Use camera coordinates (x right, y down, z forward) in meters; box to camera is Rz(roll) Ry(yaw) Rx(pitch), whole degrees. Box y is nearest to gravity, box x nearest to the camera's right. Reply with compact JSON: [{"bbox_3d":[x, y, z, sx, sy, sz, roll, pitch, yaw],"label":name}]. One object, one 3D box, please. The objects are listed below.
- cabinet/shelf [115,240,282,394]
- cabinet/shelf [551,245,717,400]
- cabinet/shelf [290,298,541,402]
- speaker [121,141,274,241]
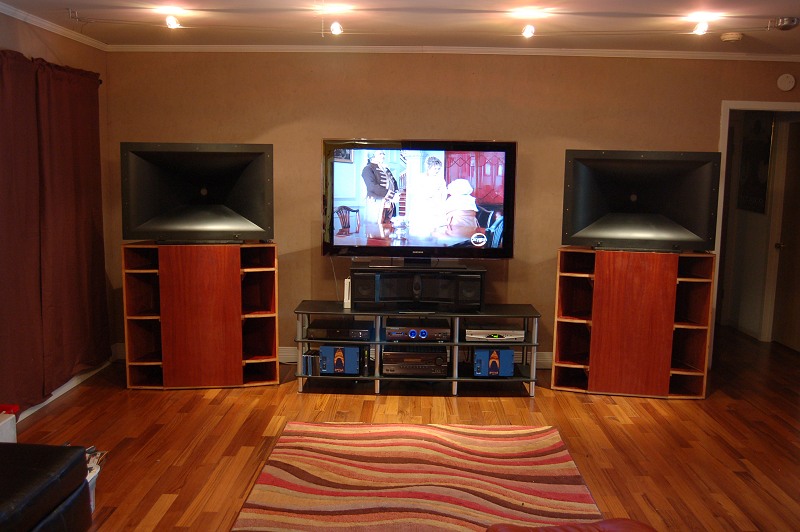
[{"bbox_3d":[-1.614,0.402,5.370,1.223,1.081,0.617,-1,0,-15],"label":"cabinet/shelf"},{"bbox_3d":[1.873,0.449,5.144,1.289,1.136,0.675,1,3,5],"label":"cabinet/shelf"},{"bbox_3d":[0.138,0.665,5.323,1.933,0.637,0.477,1,5,1],"label":"cabinet/shelf"},{"bbox_3d":[-1.553,-0.567,5.041,1.336,0.812,0.770,0,1,-6],"label":"speaker"}]
